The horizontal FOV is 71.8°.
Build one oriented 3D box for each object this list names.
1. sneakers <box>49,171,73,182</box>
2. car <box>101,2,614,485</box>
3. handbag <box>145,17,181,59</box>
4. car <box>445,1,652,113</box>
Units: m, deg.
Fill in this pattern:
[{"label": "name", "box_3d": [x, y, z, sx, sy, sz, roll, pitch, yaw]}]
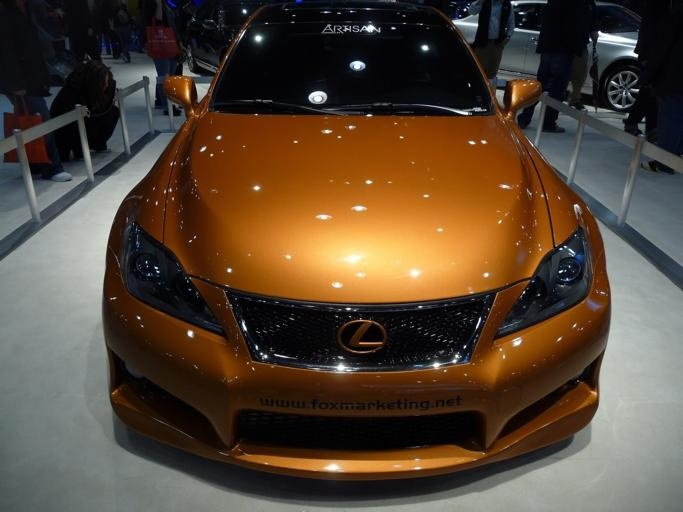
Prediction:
[{"label": "sneakers", "box_3d": [-2.718, -0.791, 4.550, 0.221, 0.099, 0.085, -2, 5, 2]}, {"label": "car", "box_3d": [0.046, -0.566, 2.444, 1.367, 1.050, 2.816, 1, 33, 0]}, {"label": "handbag", "box_3d": [-2.503, -3.155, 6.671, 0.489, 0.719, 0.236, -7, -8, -19]}, {"label": "car", "box_3d": [3.349, -3.412, 7.892, 3.139, 1.247, 1.435, 9, 39, 21]}]
